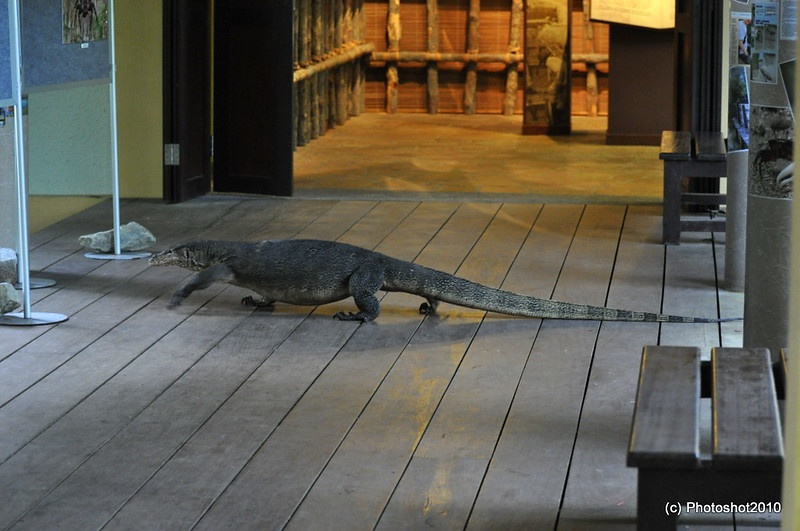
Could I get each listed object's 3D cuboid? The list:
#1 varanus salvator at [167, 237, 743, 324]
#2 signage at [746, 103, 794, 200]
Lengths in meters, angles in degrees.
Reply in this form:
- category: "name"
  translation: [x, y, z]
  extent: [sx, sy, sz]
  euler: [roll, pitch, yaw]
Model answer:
- category: "varanus salvator"
  translation: [0.380, 0.121, 4.204]
  extent: [3.210, 0.233, 0.620]
  euler: [2, 4, 11]
- category: "signage"
  translation: [1.751, -0.540, 2.864]
  extent: [0.111, 0.430, 0.260]
  euler: [-8, 18, -19]
